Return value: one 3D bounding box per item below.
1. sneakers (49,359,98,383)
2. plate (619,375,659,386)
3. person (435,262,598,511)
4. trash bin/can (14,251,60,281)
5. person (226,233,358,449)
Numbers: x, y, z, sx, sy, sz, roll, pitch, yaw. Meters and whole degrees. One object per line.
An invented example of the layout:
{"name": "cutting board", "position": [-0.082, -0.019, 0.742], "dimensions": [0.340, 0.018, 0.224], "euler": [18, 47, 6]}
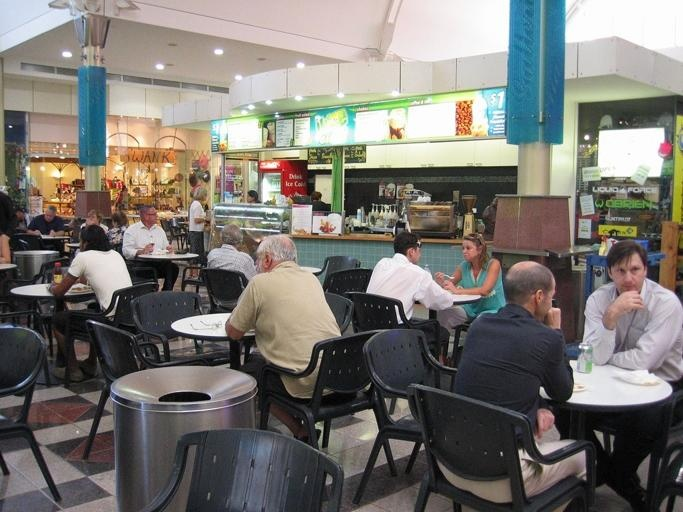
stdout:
{"name": "sneakers", "position": [-2.513, 1.064, 5.270], "dimensions": [0.346, 0.151, 0.206], "euler": [6, 3, 20]}
{"name": "plate", "position": [1.494, 0.619, 2.848], "dimensions": [0.180, 0.035, 0.110], "euler": [3, 6, 29]}
{"name": "person", "position": [0.821, 0.626, 2.631], "dimensions": [0.783, 1.169, 0.522], "euler": [-5, 7, -40]}
{"name": "trash bin/can", "position": [-4.132, 0.141, 7.660], "dimensions": [0.326, 0.381, 0.325], "euler": [-2, 8, -34]}
{"name": "person", "position": [-0.358, 0.273, 3.460], "dimensions": [0.670, 0.756, 0.382], "euler": [2, 6, 23]}
